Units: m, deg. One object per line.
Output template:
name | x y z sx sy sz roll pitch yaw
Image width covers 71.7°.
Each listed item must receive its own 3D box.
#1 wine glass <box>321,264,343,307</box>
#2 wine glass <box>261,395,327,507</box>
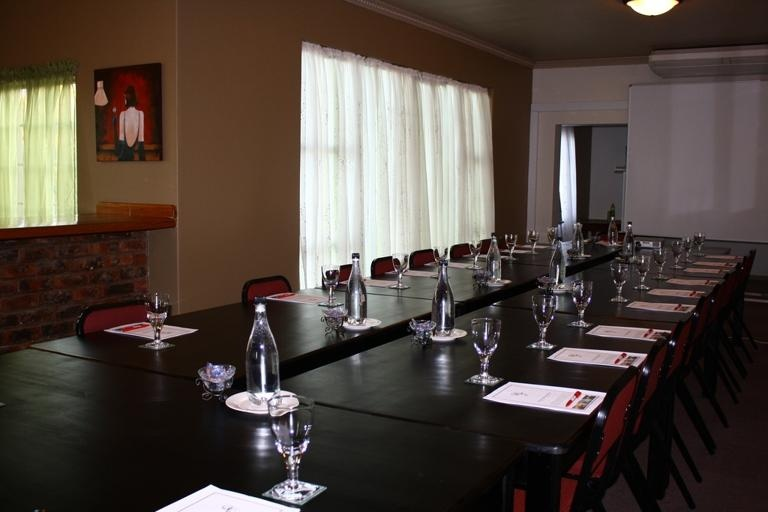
wine glass | -0.339 0.183 3.397 0.178 0.258 0.179 2 -3 -36
wine glass | -0.250 0.511 1.488 0.164 0.231 0.270 -2 7 -8
